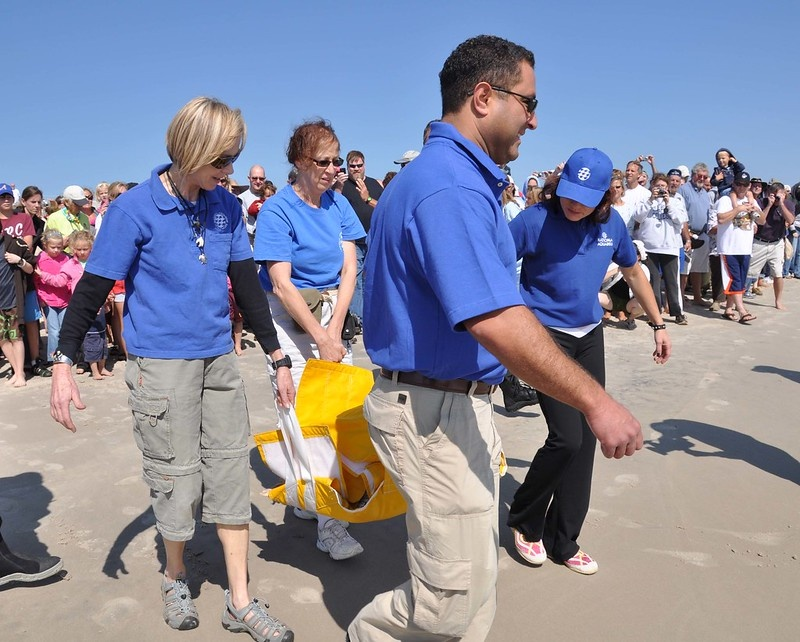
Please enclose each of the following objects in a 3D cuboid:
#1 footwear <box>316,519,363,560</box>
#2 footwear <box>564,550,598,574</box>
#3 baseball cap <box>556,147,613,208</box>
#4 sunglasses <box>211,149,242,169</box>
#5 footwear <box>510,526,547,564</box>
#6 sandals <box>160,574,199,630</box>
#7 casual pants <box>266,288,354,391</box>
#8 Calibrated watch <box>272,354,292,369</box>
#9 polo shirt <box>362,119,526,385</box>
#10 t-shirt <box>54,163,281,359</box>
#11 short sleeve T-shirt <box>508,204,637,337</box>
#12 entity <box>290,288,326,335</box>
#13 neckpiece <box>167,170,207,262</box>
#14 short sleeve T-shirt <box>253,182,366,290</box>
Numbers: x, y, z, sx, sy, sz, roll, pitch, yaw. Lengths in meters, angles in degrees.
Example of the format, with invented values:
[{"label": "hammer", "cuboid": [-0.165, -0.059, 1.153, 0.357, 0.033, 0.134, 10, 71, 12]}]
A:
[{"label": "footwear", "cuboid": [-0.368, 1.275, 3.515, 0.156, 0.186, 0.392, -6, 0, -35]}, {"label": "footwear", "cuboid": [1.036, 1.366, 3.360, 0.089, 0.057, 0.153, -3, 3, -38]}, {"label": "baseball cap", "cuboid": [1.007, -0.800, 3.198, 0.273, 0.217, 0.421, 21, 45, 15]}, {"label": "sunglasses", "cuboid": [-0.761, -0.716, 2.630, 0.128, 0.086, 0.113, 0, 13, 1]}, {"label": "footwear", "cuboid": [0.732, 1.310, 3.480, 0.104, 0.102, 0.233, -8, 23, -38]}, {"label": "sandals", "cuboid": [-1.082, 1.378, 2.946, 0.123, 0.133, 0.291, 6, 5, -34]}, {"label": "casual pants", "cuboid": [-0.562, 0.095, 3.539, 0.534, 0.552, 0.209, -20, 17, -41]}, {"label": "Calibrated watch", "cuboid": [-0.630, 0.224, 3.179, 0.088, 0.058, 0.089, -9, -1, -3]}, {"label": "polo shirt", "cuboid": [0.156, -0.194, 2.011, 0.393, 0.652, 0.873, -1, 14, -10]}, {"label": "t-shirt", "cuboid": [-0.998, -0.239, 2.805, 0.823, 0.934, 0.319, -12, 18, -40]}, {"label": "short sleeve T-shirt", "cuboid": [0.997, -0.330, 3.439, 0.910, 0.801, 0.404, -1, 19, -9]}, {"label": "entity", "cuboid": [-0.501, -0.048, 3.500, 0.229, 0.282, 0.226, -5, -5, 8]}, {"label": "neckpiece", "cuboid": [-0.972, -0.491, 2.747, 0.134, 0.492, 0.038, -20, 21, -17]}, {"label": "short sleeve T-shirt", "cuboid": [-0.548, -0.524, 3.682, 0.804, 0.609, 0.383, -16, 22, -37]}]
